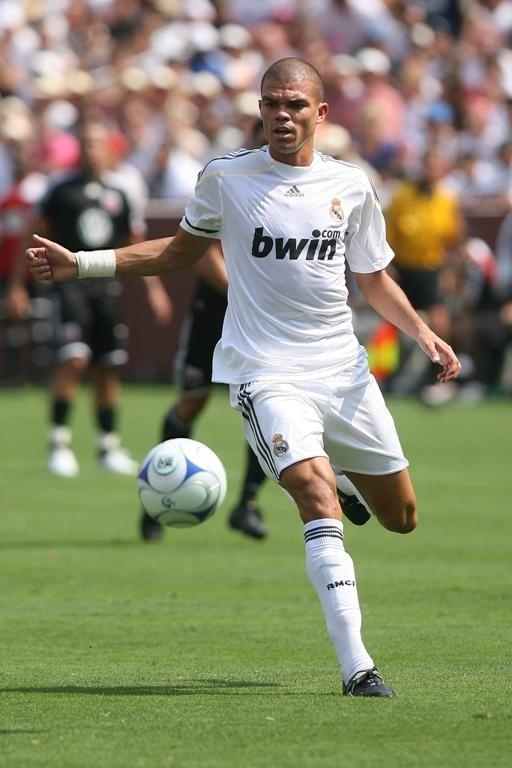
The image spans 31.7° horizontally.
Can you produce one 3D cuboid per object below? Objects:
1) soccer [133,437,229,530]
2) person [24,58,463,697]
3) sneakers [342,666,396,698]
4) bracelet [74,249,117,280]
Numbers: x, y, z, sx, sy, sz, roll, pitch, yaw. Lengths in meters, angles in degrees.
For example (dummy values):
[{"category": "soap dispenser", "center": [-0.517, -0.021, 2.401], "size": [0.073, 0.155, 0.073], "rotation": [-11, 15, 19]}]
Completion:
[{"category": "soccer", "center": [-0.285, 0.388, 3.727], "size": [0.408, 0.347, 0.371], "rotation": [-7, 1, 0]}, {"category": "person", "center": [0.172, -0.054, 3.200], "size": [1.392, 1.600, 1.025], "rotation": [16, 16, 40]}, {"category": "sneakers", "center": [0.312, 0.843, 2.540], "size": [0.073, 0.046, 0.123], "rotation": [2, -10, -28]}, {"category": "bracelet", "center": [-0.594, -0.440, 3.303], "size": [0.151, 0.097, 0.124], "rotation": [-3, 9, -31]}]
